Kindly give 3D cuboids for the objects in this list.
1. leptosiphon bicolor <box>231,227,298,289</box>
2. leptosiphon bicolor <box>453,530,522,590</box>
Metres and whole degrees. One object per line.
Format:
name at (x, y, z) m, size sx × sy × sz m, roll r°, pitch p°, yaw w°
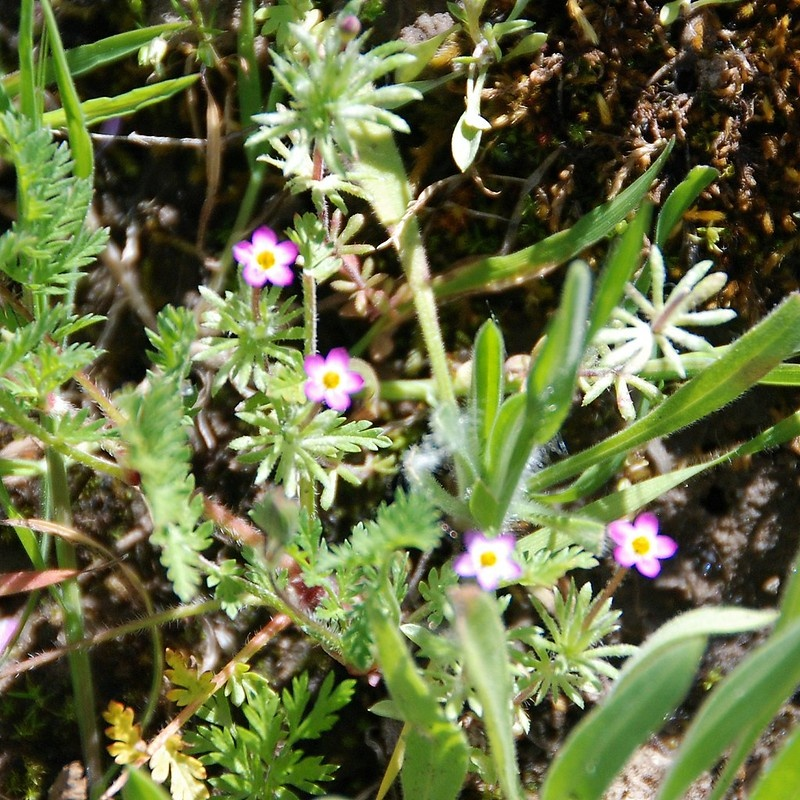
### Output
leptosiphon bicolor at (-0.341, -0.356, 2.460) m, size 0.149 × 0.047 × 0.170 m, roll 26°, pitch 63°, yaw -13°
leptosiphon bicolor at (0.203, 0.353, 2.295) m, size 0.118 × 0.158 × 0.134 m, roll -8°, pitch 26°, yaw -14°
